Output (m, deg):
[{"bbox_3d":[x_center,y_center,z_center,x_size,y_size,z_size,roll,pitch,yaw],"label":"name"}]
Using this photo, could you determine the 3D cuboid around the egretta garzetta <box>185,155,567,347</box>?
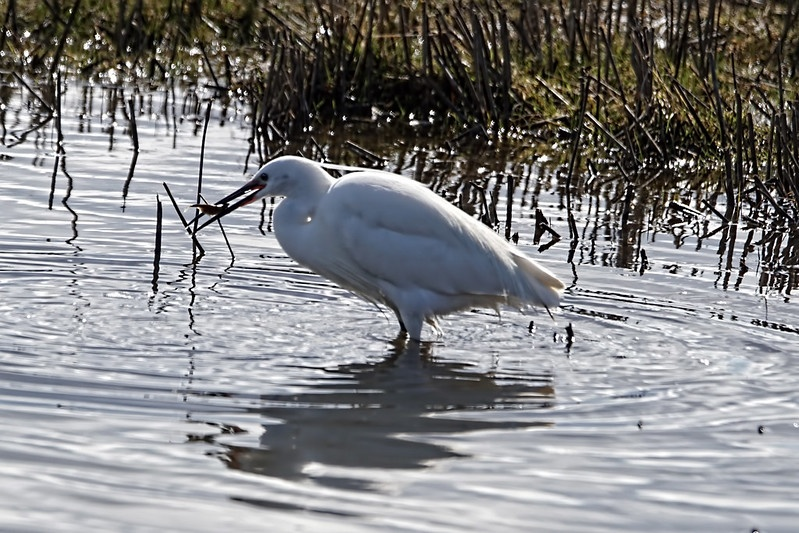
[{"bbox_3d":[-0.080,-0.043,4.919,2.302,0.926,0.556,2,-6,-15],"label":"egretta garzetta"}]
